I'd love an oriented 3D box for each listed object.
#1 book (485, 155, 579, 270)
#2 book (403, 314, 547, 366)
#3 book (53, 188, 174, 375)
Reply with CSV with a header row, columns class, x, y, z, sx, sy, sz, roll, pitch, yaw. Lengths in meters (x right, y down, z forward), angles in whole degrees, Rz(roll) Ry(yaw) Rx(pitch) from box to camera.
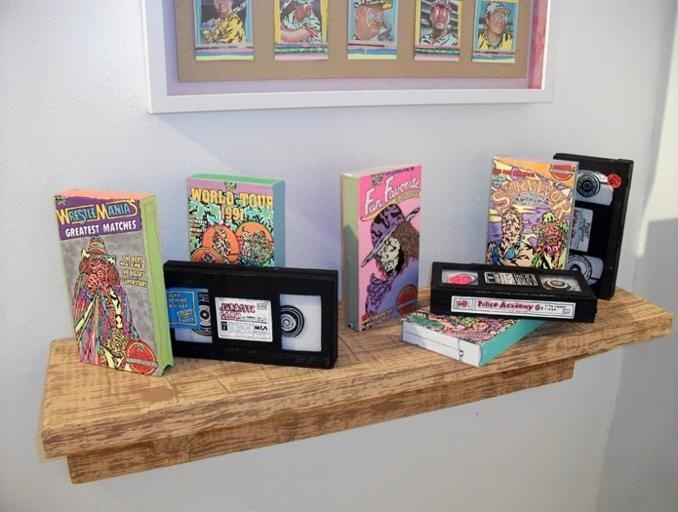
class,x,y,z,sx,sy,sz,roll,pitch,yaw
book,0.370,-0.082,1.048,0.193,0.282,0.047,5,14,20
book,0.244,0.137,0.936,0.265,0.067,0.108,-4,14,-4
book,-0.348,0.044,0.837,0.155,0.283,0.036,0,14,9
